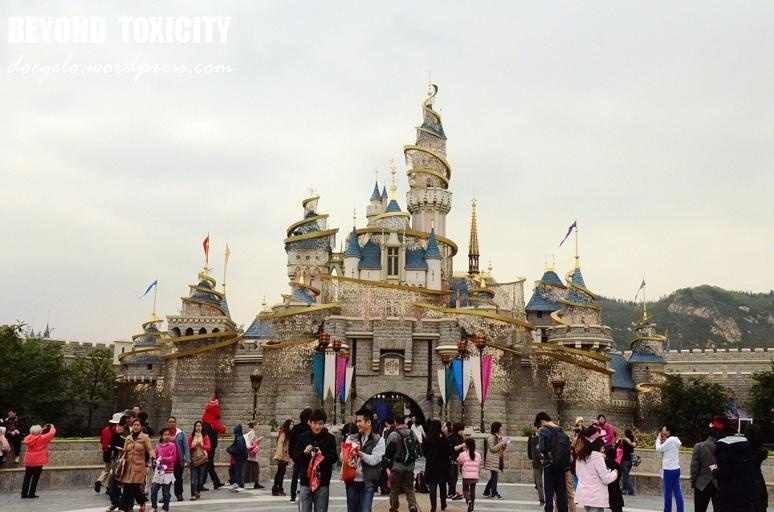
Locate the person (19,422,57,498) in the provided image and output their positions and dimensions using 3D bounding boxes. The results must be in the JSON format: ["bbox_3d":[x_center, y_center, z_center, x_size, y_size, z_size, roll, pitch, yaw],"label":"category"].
[{"bbox_3d":[-11.413,6.716,32.542,0.881,2.416,1.303,7,-16,-25],"label":"person"}]

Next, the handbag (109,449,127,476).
[{"bbox_3d":[-7.895,6.190,29.438,0.261,0.797,0.820,6,-15,-23],"label":"handbag"}]

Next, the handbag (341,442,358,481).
[{"bbox_3d":[-0.998,5.732,27.596,0.447,1.079,0.325,1,-14,-3],"label":"handbag"}]

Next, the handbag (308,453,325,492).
[{"bbox_3d":[-1.906,5.884,27.150,0.373,1.029,0.267,5,-15,-19],"label":"handbag"}]

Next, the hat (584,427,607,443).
[{"bbox_3d":[5.835,4.983,27.684,0.396,0.450,0.595,-10,-17,34],"label":"hat"}]

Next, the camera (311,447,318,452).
[{"bbox_3d":[-1.933,5.339,27.191,0.181,0.115,0.095,5,-15,-18],"label":"camera"}]
